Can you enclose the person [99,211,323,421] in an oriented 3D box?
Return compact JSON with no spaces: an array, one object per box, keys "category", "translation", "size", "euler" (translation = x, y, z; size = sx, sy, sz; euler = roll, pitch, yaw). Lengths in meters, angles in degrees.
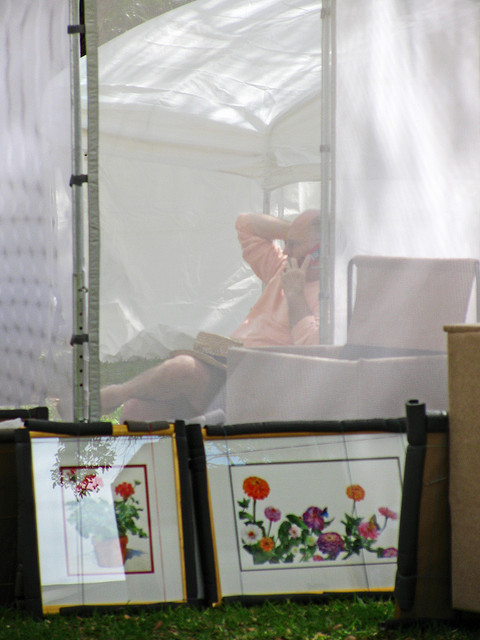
[{"category":"person","translation":[-0.089,-0.019,4.002],"size":[0.795,0.608,0.394],"euler":[-5,13,-18]}]
